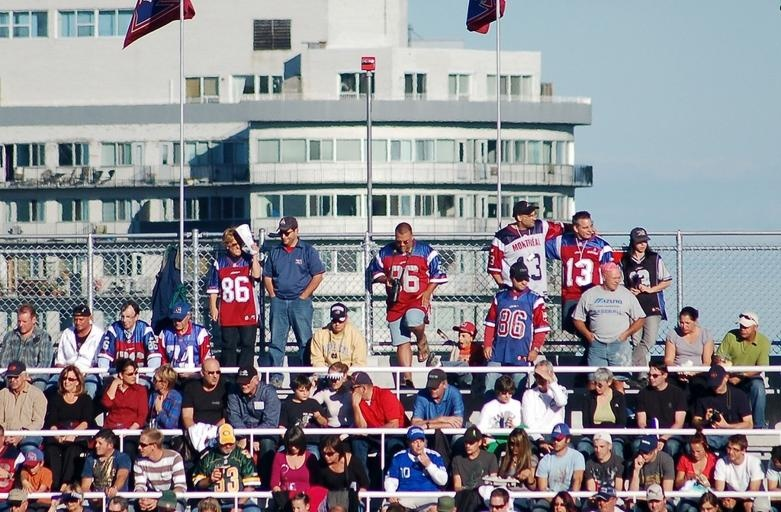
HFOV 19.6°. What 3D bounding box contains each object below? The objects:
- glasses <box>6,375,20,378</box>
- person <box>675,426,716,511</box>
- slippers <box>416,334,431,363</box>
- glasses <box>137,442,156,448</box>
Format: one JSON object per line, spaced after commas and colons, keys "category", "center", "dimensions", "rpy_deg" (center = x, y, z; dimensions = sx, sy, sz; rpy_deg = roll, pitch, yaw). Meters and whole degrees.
{"category": "glasses", "center": [-13.822, 4.337, 81.937], "dimensions": [0.214, 0.148, 0.341], "rpy_deg": [-4, -6, 10]}
{"category": "person", "center": [10.961, 7.420, 81.145], "dimensions": [1.414, 1.922, 0.771], "rpy_deg": [-1, 1, 10]}
{"category": "slippers", "center": [1.164, 3.320, 83.428], "dimensions": [0.403, 1.107, 0.306], "rpy_deg": [-4, 11, 5]}
{"category": "glasses", "center": [-8.846, 6.810, 81.097], "dimensions": [0.519, 0.172, 0.204], "rpy_deg": [0, 1, 29]}
